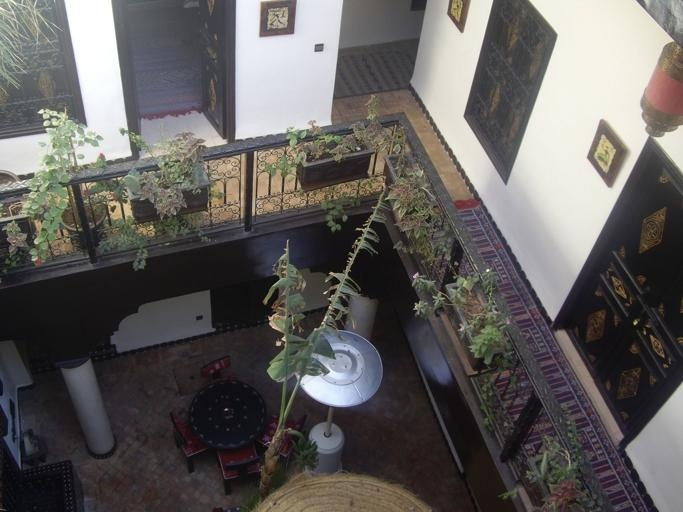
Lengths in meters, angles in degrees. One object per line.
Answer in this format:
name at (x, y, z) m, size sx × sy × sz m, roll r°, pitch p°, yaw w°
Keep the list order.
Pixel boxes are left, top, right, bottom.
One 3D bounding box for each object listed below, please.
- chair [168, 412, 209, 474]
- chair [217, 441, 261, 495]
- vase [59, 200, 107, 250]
chair at (-3.215, 3.959, 10.966) m, size 0.614 × 0.842 × 0.651 m, roll -26°, pitch 66°, yaw -15°
chair at (-2.169, 4.241, 10.875) m, size 0.916 × 1.465 × 1.112 m, roll 1°, pitch 38°, yaw -11°
vase at (-3.741, -0.474, 7.610) m, size 0.663 × 0.528 × 0.710 m, roll -1°, pitch 62°, yaw -8°
